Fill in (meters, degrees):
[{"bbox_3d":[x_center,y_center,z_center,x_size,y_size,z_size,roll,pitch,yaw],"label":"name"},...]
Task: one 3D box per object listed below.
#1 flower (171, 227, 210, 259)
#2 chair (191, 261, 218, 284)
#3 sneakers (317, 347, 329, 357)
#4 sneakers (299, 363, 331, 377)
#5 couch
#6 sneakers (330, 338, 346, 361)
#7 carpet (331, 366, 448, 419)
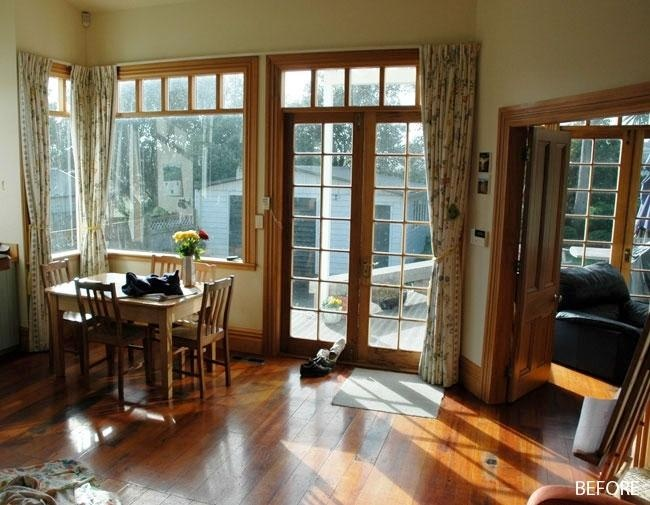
[{"bbox_3d":[-1.434,-0.088,5.270,0.440,0.408,0.403,1,0,-10],"label":"flower"},{"bbox_3d":[-1.293,0.207,5.406,0.187,0.353,0.232,1,-3,14],"label":"chair"},{"bbox_3d":[-0.020,1.105,5.465,0.077,0.080,0.141,14,7,8],"label":"sneakers"},{"bbox_3d":[-0.107,1.231,5.283,0.302,0.151,0.129,-2,6,-6],"label":"sneakers"},{"bbox_3d":[2.325,0.915,4.365,0.674,0.985,1.262,11,15,24],"label":"couch"},{"bbox_3d":[0.143,1.071,5.555,0.114,0.091,0.301,18,55,10],"label":"sneakers"},{"bbox_3d":[0.657,1.392,4.955,1.045,0.018,0.840,5,13,13],"label":"carpet"}]
